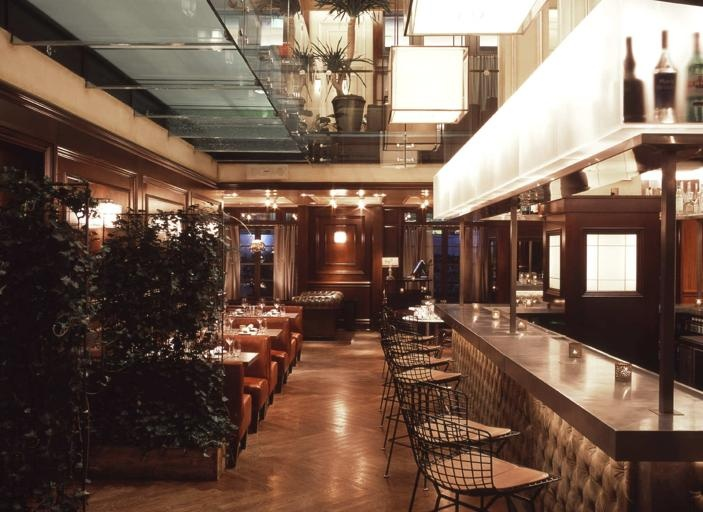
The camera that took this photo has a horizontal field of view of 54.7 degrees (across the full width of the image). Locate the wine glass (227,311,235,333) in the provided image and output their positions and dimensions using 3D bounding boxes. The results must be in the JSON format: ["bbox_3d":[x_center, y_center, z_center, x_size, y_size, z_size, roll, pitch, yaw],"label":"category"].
[{"bbox_3d":[-1.631,0.894,9.168,0.151,0.231,0.165,1,-3,-3],"label":"wine glass"}]

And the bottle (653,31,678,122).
[{"bbox_3d":[2.077,-1.189,4.513,0.170,0.601,0.073,-2,6,-14],"label":"bottle"}]

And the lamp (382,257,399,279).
[{"bbox_3d":[0.846,0.251,14.965,0.427,0.547,0.190,1,-6,-8],"label":"lamp"}]

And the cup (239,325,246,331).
[{"bbox_3d":[-1.412,0.916,8.740,0.051,0.059,0.060,-1,0,7],"label":"cup"}]
